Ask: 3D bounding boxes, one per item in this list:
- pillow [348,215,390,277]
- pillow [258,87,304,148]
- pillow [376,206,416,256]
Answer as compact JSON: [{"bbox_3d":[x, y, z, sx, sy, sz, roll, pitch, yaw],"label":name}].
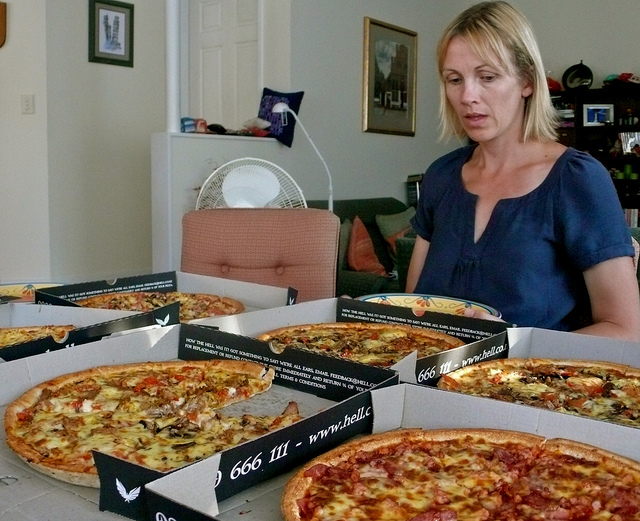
[{"bbox_3d":[0.373,-0.099,4.602,0.145,0.431,0.497,-27,-31,29],"label":"pillow"},{"bbox_3d":[-0.403,-1.392,5.173,0.583,0.492,0.172,17,-1,25],"label":"pillow"},{"bbox_3d":[0.764,-0.253,5.471,0.517,0.458,0.144,-20,-8,-45],"label":"pillow"}]
